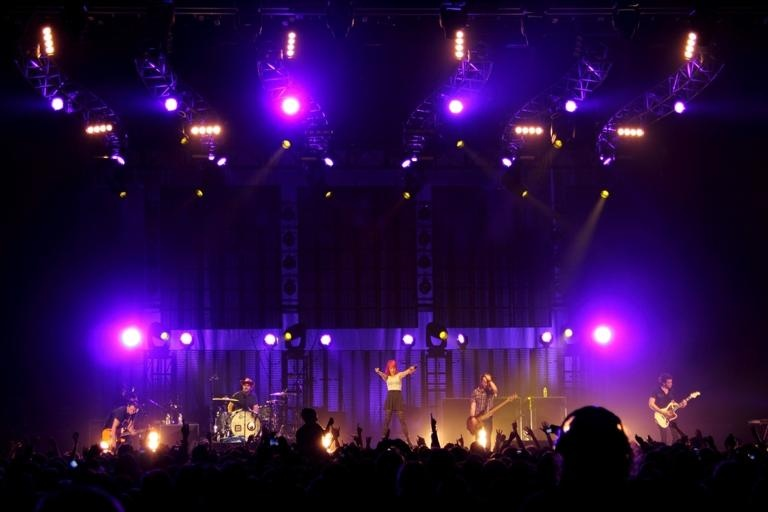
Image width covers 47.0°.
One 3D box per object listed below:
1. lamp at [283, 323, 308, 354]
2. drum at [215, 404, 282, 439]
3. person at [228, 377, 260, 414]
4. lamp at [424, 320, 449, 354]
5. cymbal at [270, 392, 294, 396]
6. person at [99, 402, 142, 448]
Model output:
[{"bbox_3d":[-2.230,1.997,21.565,0.585,0.769,0.616,-12,-4,21],"label":"lamp"},{"bbox_3d":[-3.328,3.929,20.917,1.345,1.251,0.581,-7,-5,-17],"label":"drum"},{"bbox_3d":[-3.339,3.386,21.102,0.829,0.969,0.594,4,-10,-12],"label":"person"},{"bbox_3d":[1.319,2.016,22.059,0.493,0.834,0.526,-1,16,1],"label":"lamp"},{"bbox_3d":[-2.521,3.396,21.917,0.339,0.085,0.296,-1,-9,10],"label":"cymbal"},{"bbox_3d":[-6.139,3.906,20.499,0.815,0.442,1.423,18,-2,0],"label":"person"}]
